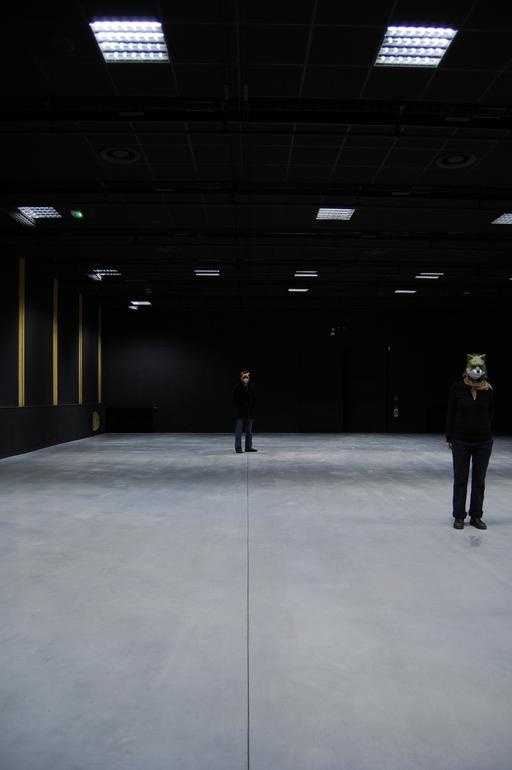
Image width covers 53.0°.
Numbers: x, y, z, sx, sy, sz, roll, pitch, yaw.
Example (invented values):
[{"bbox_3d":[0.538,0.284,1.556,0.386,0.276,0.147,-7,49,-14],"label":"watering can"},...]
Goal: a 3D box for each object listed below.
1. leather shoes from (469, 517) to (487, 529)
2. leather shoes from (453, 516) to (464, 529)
[{"bbox_3d":[2.069,1.293,4.778,0.053,0.089,0.191,0,-11,-2],"label":"leather shoes"},{"bbox_3d":[1.868,1.280,4.744,0.051,0.089,0.183,-2,-17,10],"label":"leather shoes"}]
